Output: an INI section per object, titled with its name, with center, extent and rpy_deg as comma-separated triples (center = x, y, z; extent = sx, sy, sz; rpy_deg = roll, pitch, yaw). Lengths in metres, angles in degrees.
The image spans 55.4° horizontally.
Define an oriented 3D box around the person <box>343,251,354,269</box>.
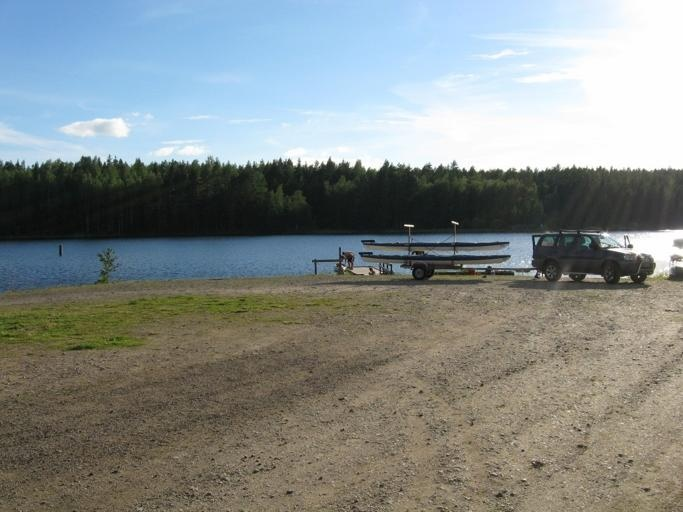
[person]
center = 0.532, 0.472, 50.546
extent = 0.702, 1.580, 0.851
rpy_deg = -3, 5, 0
